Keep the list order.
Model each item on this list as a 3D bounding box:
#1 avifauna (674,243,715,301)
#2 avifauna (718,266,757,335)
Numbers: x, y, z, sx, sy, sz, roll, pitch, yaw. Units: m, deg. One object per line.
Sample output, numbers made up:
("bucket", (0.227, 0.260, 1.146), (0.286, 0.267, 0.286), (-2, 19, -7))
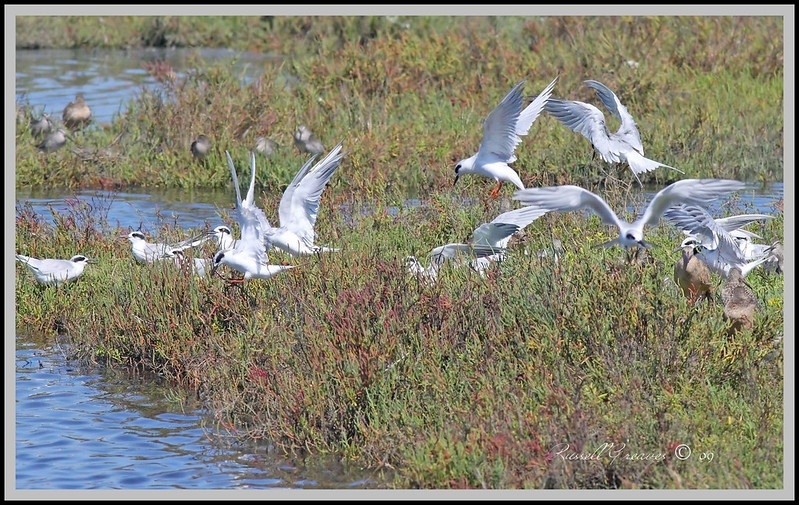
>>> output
("avifauna", (4.013, 0.266, 13.583), (0.504, 0.749, 0.377), (2, 12, 14))
("avifauna", (4.447, 0.652, 13.098), (0.357, 0.977, 0.407), (-1, -33, 16))
